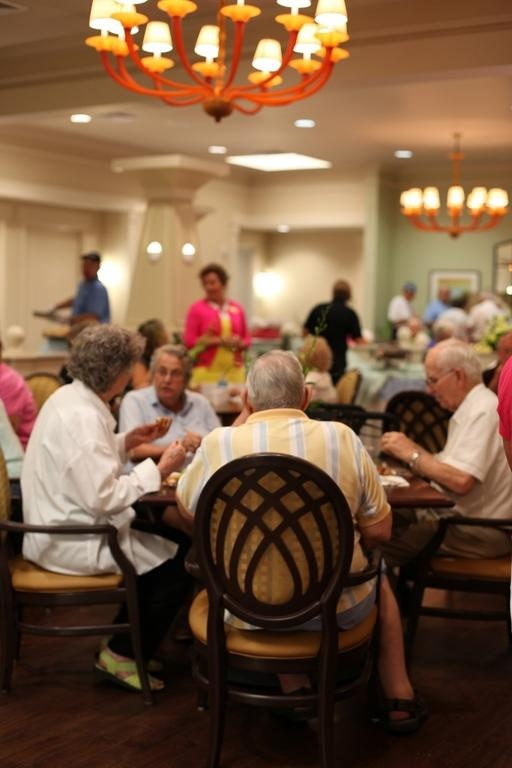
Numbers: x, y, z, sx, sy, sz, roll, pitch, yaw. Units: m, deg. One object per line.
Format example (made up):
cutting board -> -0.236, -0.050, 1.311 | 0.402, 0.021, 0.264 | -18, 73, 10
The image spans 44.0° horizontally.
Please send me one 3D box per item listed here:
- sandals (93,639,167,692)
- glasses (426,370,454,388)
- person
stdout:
sandals -> -0.420, 0.895, 2.042 | 0.269, 0.111, 0.097 | 20, 1, 12
glasses -> 0.679, -0.022, 2.346 | 0.061, 0.062, 0.020 | 4, 37, 22
person -> -0.015, 0.397, 2.224 | 1.522, 1.099, 1.392 | 6, 6, 44
